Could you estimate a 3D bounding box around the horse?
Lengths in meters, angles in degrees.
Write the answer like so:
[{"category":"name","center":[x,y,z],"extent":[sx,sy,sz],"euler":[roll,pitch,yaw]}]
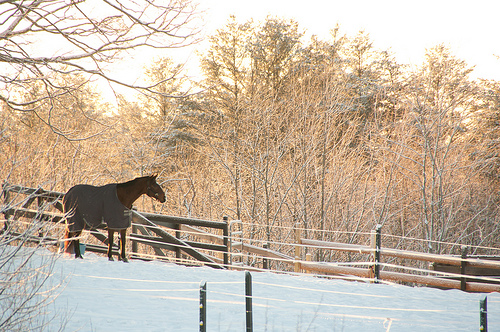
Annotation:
[{"category":"horse","center":[-5.715,2.295,42.667],"extent":[4.952,3.641,1.444],"euler":[-1,2,25]}]
